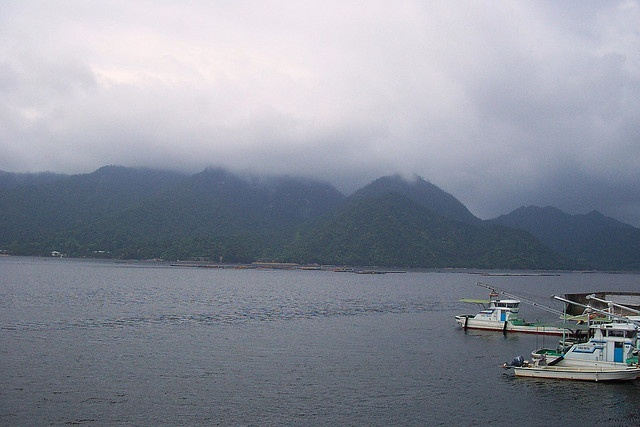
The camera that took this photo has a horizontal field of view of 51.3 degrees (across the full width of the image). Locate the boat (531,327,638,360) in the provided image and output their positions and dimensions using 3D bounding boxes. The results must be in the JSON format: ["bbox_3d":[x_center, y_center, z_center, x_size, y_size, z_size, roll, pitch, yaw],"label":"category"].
[{"bbox_3d":[29.339,14.752,76.670,12.970,4.685,4.550,-3,-2,18],"label":"boat"}]
